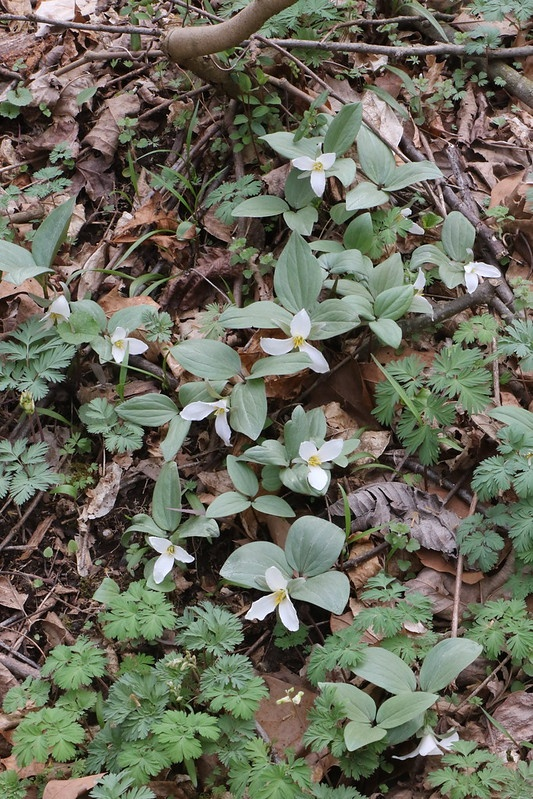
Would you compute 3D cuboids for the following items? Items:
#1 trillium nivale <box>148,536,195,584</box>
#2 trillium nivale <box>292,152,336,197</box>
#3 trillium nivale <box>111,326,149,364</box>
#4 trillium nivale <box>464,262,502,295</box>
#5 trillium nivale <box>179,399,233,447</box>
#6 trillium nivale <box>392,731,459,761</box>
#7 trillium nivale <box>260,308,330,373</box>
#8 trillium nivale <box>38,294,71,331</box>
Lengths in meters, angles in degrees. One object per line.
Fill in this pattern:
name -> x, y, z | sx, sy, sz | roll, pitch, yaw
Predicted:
trillium nivale -> -0.371, 0.608, 2.563 | 0.192, 0.202, 0.094 | 1, 6, 3
trillium nivale -> 0.227, -1.032, 3.065 | 0.182, 0.203, 0.238 | -7, 32, 8
trillium nivale -> -0.640, -0.257, 3.013 | 0.152, 0.160, 0.140 | -25, 34, -21
trillium nivale -> 1.002, -0.588, 3.117 | 0.045, 0.119, 0.207 | -8, 36, -33
trillium nivale -> -0.229, 0.059, 2.680 | 0.188, 0.089, 0.196 | 0, 53, -26
trillium nivale -> 0.564, 1.186, 2.308 | 0.158, 0.146, 0.074 | -1, 70, -6
trillium nivale -> 0.119, -0.215, 2.670 | 0.242, 0.269, 0.180 | -23, 33, -17
trillium nivale -> -0.955, -0.391, 3.008 | 0.139, 0.146, 0.061 | 28, 40, -25
